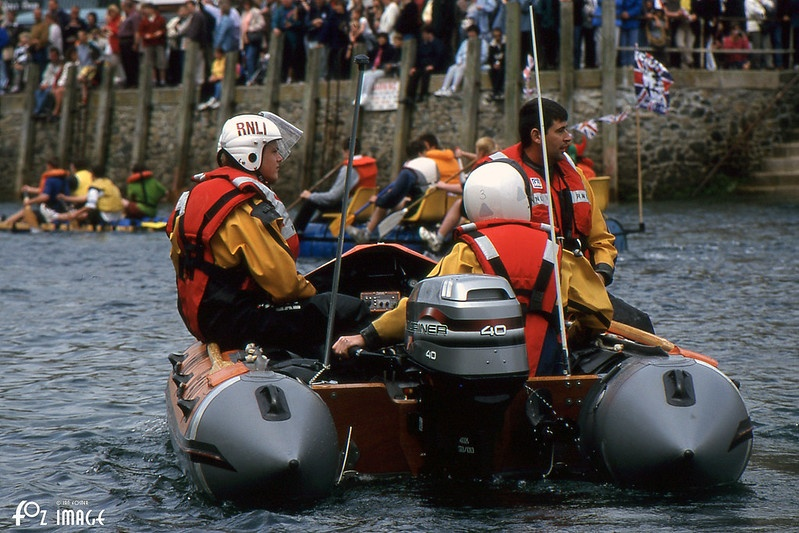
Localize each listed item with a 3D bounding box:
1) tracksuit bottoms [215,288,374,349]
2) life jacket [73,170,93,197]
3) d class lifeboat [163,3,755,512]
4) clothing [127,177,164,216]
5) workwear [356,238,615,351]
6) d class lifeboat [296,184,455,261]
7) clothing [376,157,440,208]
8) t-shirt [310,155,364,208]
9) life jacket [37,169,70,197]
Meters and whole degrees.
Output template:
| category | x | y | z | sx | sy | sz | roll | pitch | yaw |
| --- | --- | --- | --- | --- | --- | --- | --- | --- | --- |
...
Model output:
| category | x | y | z | sx | sy | sz | roll | pitch | yaw |
| --- | --- | --- | --- | --- | --- | --- | --- | --- | --- |
| tracksuit bottoms | -1.328 | 0.639 | 21.856 | 1.457 | 0.491 | 0.781 | -1 | -2 | -10 |
| life jacket | -6.047 | -1.598 | 34.306 | 0.411 | 0.530 | 0.246 | 7 | -5 | -10 |
| d class lifeboat | 0.453 | -0.121 | 21.574 | 6.370 | 5.773 | 2.471 | 1 | 6 | -7 |
| clothing | -4.914 | -1.374 | 34.872 | 0.842 | 0.804 | 0.436 | -13 | 10 | -26 |
| workwear | 1.521 | 0.482 | 21.915 | 1.706 | 0.657 | 1.851 | -23 | -19 | 38 |
| d class lifeboat | -0.182 | -0.625 | 29.743 | 1.634 | 0.403 | 1.580 | -6 | -14 | -23 |
| clothing | 0.169 | -1.374 | 29.373 | 0.950 | 0.387 | 0.739 | -30 | -1 | 25 |
| t-shirt | -1.027 | -1.439 | 30.638 | 1.046 | 0.404 | 1.335 | -3 | 37 | -3 |
| life jacket | -6.540 | -1.599 | 33.910 | 0.500 | 0.581 | 0.230 | 7 | 0 | -23 |
